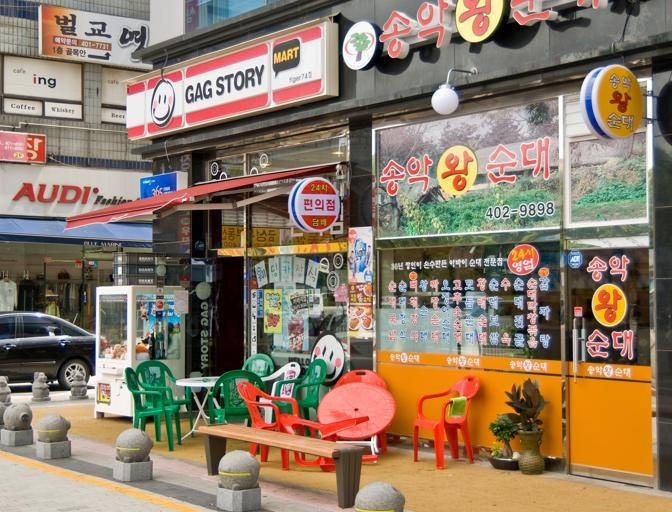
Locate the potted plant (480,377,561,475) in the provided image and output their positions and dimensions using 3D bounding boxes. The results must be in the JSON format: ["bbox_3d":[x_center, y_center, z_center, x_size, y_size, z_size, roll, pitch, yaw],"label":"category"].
[{"bbox_3d":[2.282,2.081,9.423,1.109,1.584,0.937,2,-8,-3],"label":"potted plant"}]

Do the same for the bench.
[{"bbox_3d":[-0.714,2.354,8.444,0.829,0.701,2.308,4,-8,-39],"label":"bench"}]

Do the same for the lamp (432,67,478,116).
[{"bbox_3d":[1.573,-2.142,9.601,0.688,0.696,0.313,-1,-13,-9],"label":"lamp"}]
